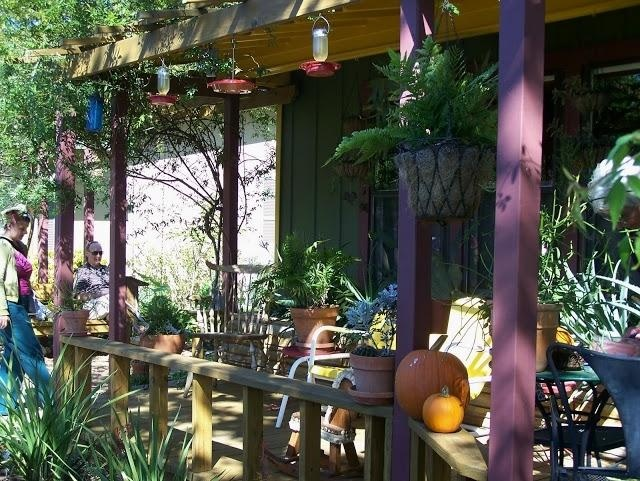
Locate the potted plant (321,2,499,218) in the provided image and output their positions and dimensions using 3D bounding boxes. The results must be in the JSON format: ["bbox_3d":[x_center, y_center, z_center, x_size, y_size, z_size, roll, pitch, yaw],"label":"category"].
[{"bbox_3d":[0.454,-0.556,3.170,0.780,0.782,0.704,-2,-3,27],"label":"potted plant"}]

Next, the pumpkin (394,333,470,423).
[{"bbox_3d":[0.520,0.627,3.067,0.289,0.353,0.294,2,2,-30],"label":"pumpkin"}]

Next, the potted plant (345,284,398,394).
[{"bbox_3d":[0.326,0.547,3.312,0.251,0.579,0.298,10,-9,-25],"label":"potted plant"}]

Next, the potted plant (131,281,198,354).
[{"bbox_3d":[-1.729,1.019,7.186,0.456,0.773,0.481,-18,-15,14],"label":"potted plant"}]

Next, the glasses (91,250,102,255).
[{"bbox_3d":[-2.622,0.135,7.612,0.073,0.062,0.177,1,-5,20],"label":"glasses"}]

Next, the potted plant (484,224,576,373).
[{"bbox_3d":[1.128,0.325,3.255,0.479,0.533,0.596,1,-8,-2],"label":"potted plant"}]

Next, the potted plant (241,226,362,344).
[{"bbox_3d":[-0.117,0.490,5.794,0.783,1.084,0.874,2,-9,-14],"label":"potted plant"}]

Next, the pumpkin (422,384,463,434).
[{"bbox_3d":[0.540,0.746,2.893,0.155,0.234,0.186,1,-4,-7],"label":"pumpkin"}]

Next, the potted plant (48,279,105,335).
[{"bbox_3d":[-2.483,0.677,6.647,0.518,0.524,0.333,0,-4,-3],"label":"potted plant"}]

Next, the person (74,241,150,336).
[{"bbox_3d":[-2.506,0.675,7.626,0.739,1.433,0.537,-8,-3,34],"label":"person"}]
